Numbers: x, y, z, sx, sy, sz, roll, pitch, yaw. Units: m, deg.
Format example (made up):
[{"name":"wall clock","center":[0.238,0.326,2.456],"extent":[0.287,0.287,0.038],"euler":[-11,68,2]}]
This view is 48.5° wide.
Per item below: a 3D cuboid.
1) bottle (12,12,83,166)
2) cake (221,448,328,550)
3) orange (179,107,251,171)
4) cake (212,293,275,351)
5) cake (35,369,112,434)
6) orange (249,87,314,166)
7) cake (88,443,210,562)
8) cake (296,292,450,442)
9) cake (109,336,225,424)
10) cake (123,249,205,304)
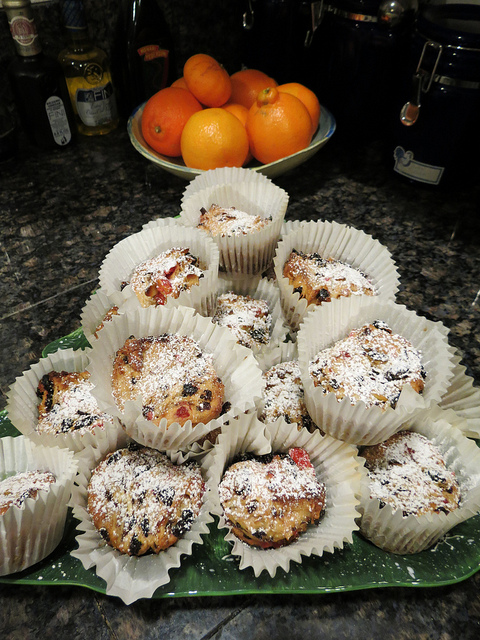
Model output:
[{"name":"bottle","center":[-0.470,-0.559,1.236],"extent":[0.112,0.375,0.093],"euler":[0,62,-7]},{"name":"cake","center":[0.037,0.217,0.678],"extent":[0.127,0.047,0.130],"euler":[-18,51,-19]},{"name":"orange","center":[-0.052,-0.365,1.083],"extent":[0.150,0.108,0.098],"euler":[2,48,-2]},{"name":"cake","center":[0.006,0.002,0.902],"extent":[0.105,0.057,0.161],"euler":[-1,47,-4]},{"name":"cake","center":[-0.237,0.121,0.761],"extent":[0.116,0.025,0.119],"euler":[28,26,-19]},{"name":"orange","center":[0.086,-0.411,1.113],"extent":[0.138,0.151,0.120],"euler":[6,48,2]},{"name":"cake","center":[-0.122,0.227,0.678],"extent":[0.136,0.053,0.155],"euler":[-21,54,-22]},{"name":"cake","center":[0.194,0.083,0.801],"extent":[0.213,0.091,0.203],"euler":[-28,60,-21]},{"name":"cake","center":[-0.101,0.080,0.717],"extent":[0.159,0.046,0.151],"euler":[7,47,3]},{"name":"cake","center":[-0.130,-0.074,0.861],"extent":[0.105,0.123,0.038],"euler":[-7,52,5]}]
